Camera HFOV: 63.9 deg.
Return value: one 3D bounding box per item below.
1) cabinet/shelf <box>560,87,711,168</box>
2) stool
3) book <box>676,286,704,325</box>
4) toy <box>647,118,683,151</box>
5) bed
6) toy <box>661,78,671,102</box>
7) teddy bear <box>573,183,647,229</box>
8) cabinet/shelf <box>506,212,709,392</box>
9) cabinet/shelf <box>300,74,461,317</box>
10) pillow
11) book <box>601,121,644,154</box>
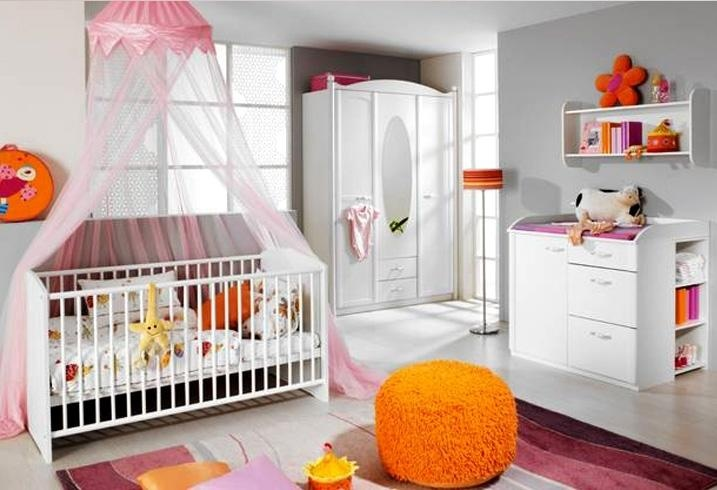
[{"bbox_3d":[2.293,-0.964,4.815,0.300,0.642,1.193,-12,16,-42],"label":"cabinet/shelf"},{"bbox_3d":[0.468,1.003,3.182,0.728,0.390,0.712,1,3,32],"label":"stool"},{"bbox_3d":[2.672,0.482,4.640,0.196,0.298,0.341,0,0,9],"label":"book"},{"bbox_3d":[2.454,-0.893,4.734,0.276,0.274,0.265,-4,6,-38],"label":"toy"},{"bbox_3d":[-1.442,0.665,4.273,2.345,1.309,1.315,-2,3,-34],"label":"bed"},{"bbox_3d":[2.490,-1.246,4.653,0.098,0.158,0.064,10,16,41],"label":"toy"},{"bbox_3d":[2.113,-0.348,4.856,0.557,0.293,0.324,0,2,41],"label":"teddy bear"},{"bbox_3d":[2.017,0.425,5.180,1.310,1.578,1.799,-1,2,-34],"label":"cabinet/shelf"},{"bbox_3d":[0.292,-0.589,6.598,1.763,2.555,0.640,-7,14,-26],"label":"cabinet/shelf"},{"bbox_3d":[-1.404,0.427,4.220,0.892,0.391,0.637,-6,8,-36],"label":"pillow"},{"bbox_3d":[2.250,-0.853,4.933,0.282,0.345,0.387,2,3,42],"label":"book"}]
